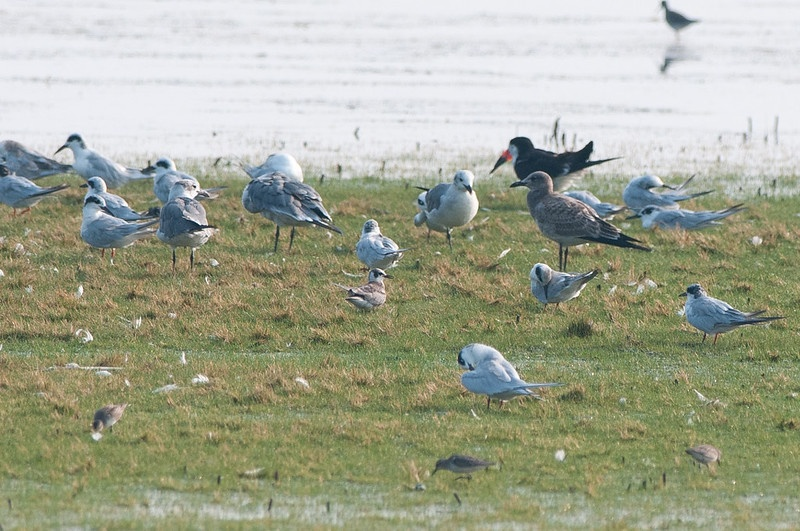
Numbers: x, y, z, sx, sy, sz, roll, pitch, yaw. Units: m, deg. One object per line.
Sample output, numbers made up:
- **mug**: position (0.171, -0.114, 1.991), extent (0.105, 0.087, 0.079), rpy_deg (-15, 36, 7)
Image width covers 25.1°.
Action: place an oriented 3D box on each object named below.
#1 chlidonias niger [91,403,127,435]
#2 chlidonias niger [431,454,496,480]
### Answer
- **chlidonias niger**: position (-6.909, 3.570, 42.203), extent (0.403, 0.361, 0.993), rpy_deg (-30, 13, 28)
- **chlidonias niger**: position (1.407, 4.632, 41.133), extent (1.427, 0.530, 0.482), rpy_deg (-1, 9, 1)
